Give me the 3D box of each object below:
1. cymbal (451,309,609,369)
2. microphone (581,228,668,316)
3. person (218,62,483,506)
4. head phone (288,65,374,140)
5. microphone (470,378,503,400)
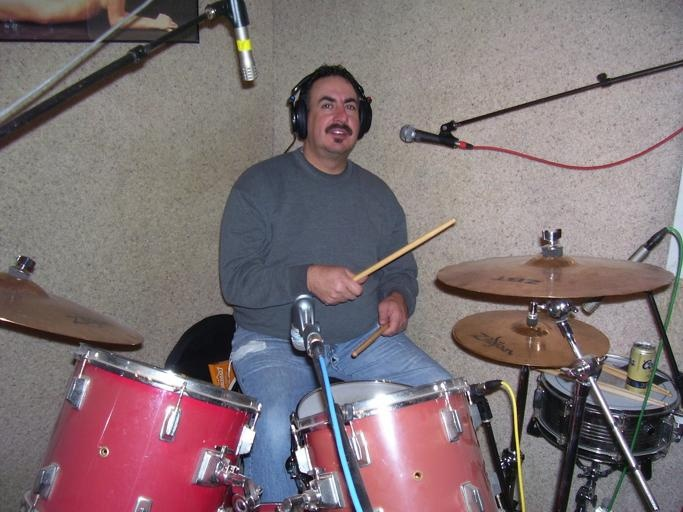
[{"bbox_3d":[0.662,0.292,2.135,0.314,0.074,0.310,-1,20,-16],"label":"cymbal"},{"bbox_3d":[1.022,0.049,2.163,0.428,0.083,0.058,-44,8,13],"label":"microphone"},{"bbox_3d":[-0.043,0.193,2.372,0.954,1.819,0.918,-3,7,-45],"label":"person"},{"bbox_3d":[-0.030,-0.633,2.517,0.424,0.378,0.166,2,-9,-13],"label":"head phone"},{"bbox_3d":[0.456,0.415,1.924,0.093,0.035,0.051,-10,7,-28],"label":"microphone"}]
